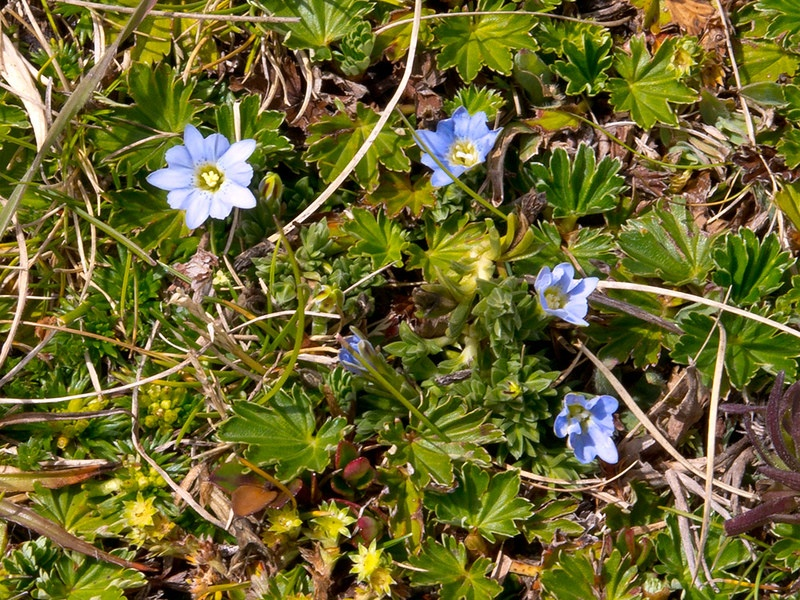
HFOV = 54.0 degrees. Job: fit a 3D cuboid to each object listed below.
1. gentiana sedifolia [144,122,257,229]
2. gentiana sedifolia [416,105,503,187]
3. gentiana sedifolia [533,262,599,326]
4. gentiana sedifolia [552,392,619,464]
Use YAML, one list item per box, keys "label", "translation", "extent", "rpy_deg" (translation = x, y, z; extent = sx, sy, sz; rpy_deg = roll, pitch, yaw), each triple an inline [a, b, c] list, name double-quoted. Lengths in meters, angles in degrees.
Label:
- label: "gentiana sedifolia"
  translation: [-0.695, -0.442, 2.740]
  extent: [0.375, 0.083, 0.356]
  rpy_deg: [-4, 83, 0]
- label: "gentiana sedifolia"
  translation: [0.251, -0.613, 2.863]
  extent: [0.246, 0.277, 0.153]
  rpy_deg: [5, 91, 22]
- label: "gentiana sedifolia"
  translation: [0.551, -0.028, 2.604]
  extent: [0.186, 0.090, 0.227]
  rpy_deg: [-12, 92, -21]
- label: "gentiana sedifolia"
  translation: [0.619, 0.431, 2.628]
  extent: [0.209, 0.093, 0.226]
  rpy_deg: [2, 83, 1]
